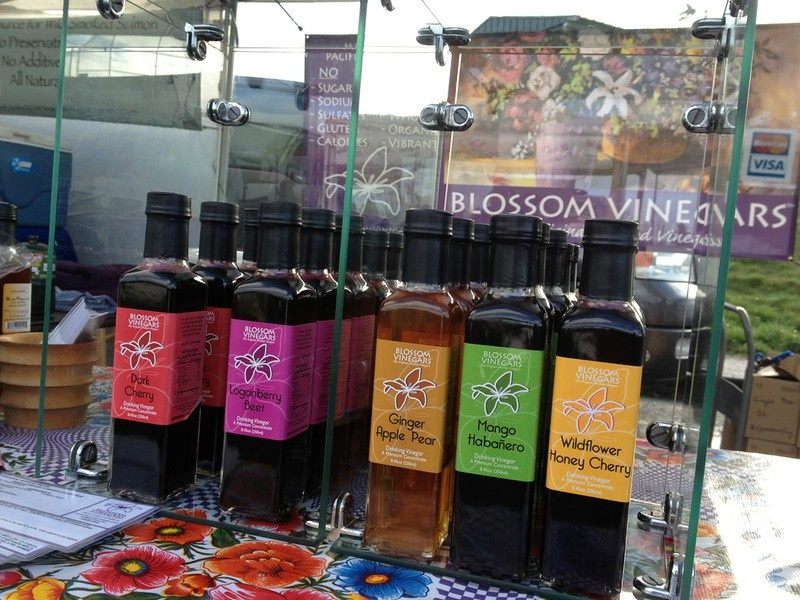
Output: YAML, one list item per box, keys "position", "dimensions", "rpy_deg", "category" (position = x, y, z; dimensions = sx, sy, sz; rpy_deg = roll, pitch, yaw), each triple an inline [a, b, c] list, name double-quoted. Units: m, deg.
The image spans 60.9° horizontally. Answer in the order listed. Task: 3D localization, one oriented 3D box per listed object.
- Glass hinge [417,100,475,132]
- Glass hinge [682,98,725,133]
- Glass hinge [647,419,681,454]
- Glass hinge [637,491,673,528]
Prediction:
- position: [0.073, -0.294, 1.098]
  dimensions: [0.081, 0.041, 0.033]
  rpy_deg: [1, 13, 7]
  category: "Glass hinge"
- position: [0.441, -0.268, 0.992]
  dimensions: [0.050, 0.037, 0.023]
  rpy_deg: [3, 12, 31]
  category: "Glass hinge"
- position: [0.393, 0.205, 1.021]
  dimensions: [0.048, 0.031, 0.021]
  rpy_deg: [0, -1, 19]
  category: "Glass hinge"
- position: [0.364, 0.301, 0.996]
  dimensions: [0.053, 0.056, 0.038]
  rpy_deg: [10, -26, 20]
  category: "Glass hinge"
